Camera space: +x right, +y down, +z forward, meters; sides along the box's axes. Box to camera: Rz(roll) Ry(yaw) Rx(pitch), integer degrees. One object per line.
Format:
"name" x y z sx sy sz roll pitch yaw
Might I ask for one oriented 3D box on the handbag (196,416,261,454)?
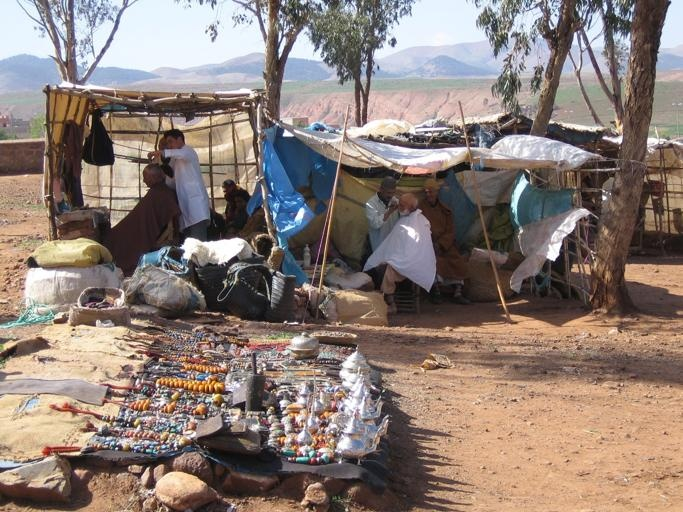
"handbag" -0.764 1.211 4.060 0.343 0.110 0.275 7 4 -7

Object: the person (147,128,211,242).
"person" -2.645 -1.118 9.840 0.871 1.817 0.793 3 12 18

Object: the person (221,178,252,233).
"person" -1.849 -0.854 10.583 0.466 0.882 0.996 -2 10 -10

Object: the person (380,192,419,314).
"person" 0.882 -0.042 9.320 0.437 1.756 0.895 2 11 14

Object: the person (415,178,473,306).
"person" 1.670 -0.227 9.826 0.805 1.973 0.671 0 11 2

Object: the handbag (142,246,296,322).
"handbag" -1.568 0.380 7.906 1.699 0.583 1.050 10 3 26

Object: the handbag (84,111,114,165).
"handbag" -4.229 -2.019 10.379 0.481 0.937 0.363 -5 12 -21
